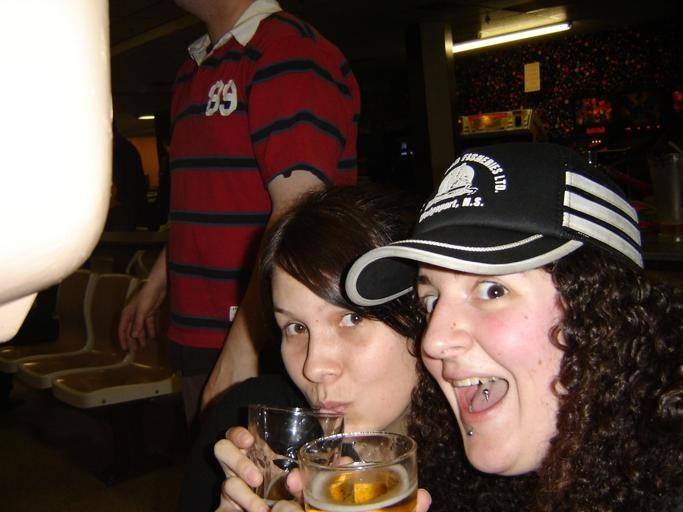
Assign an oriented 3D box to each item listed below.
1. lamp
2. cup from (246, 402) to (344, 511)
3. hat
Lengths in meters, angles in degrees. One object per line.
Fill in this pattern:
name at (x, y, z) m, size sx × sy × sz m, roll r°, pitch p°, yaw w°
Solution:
lamp at (1.792, -2.423, 5.970) m, size 1.141 × 0.210 × 0.863 m, roll -1°, pitch 10°, yaw 22°
cup at (-0.069, 0.358, 1.049) m, size 0.163 × 0.169 × 0.158 m, roll 6°, pitch -10°, yaw 1°
hat at (0.322, -0.058, 1.091) m, size 0.545 × 0.269 × 0.388 m, roll 8°, pitch -12°, yaw -32°
